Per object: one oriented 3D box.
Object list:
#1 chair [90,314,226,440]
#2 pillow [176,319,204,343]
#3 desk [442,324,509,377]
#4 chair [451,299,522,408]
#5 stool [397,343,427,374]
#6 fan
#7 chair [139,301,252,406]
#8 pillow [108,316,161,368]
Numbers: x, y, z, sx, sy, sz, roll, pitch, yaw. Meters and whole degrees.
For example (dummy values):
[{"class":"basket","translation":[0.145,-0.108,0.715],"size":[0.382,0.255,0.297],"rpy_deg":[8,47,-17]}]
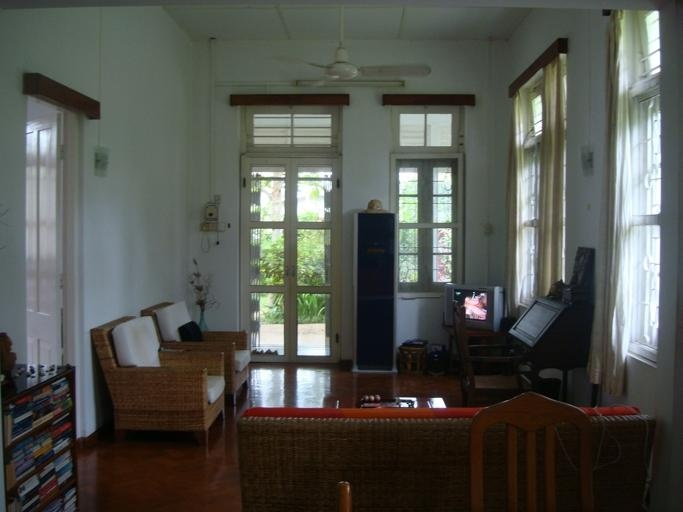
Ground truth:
[{"class":"chair","translation":[-1.734,1.154,5.473],"size":[1.113,1.083,0.568],"rpy_deg":[0,2,5]},{"class":"pillow","translation":[-1.683,0.834,6.305],"size":[0.083,0.225,0.256],"rpy_deg":[-17,-5,18]},{"class":"desk","translation":[1.606,1.105,6.828],"size":[0.517,0.492,0.978],"rpy_deg":[0,-2,-2]},{"class":"chair","translation":[1.505,0.932,5.996],"size":[0.633,0.996,1.916],"rpy_deg":[0,2,13]},{"class":"stool","translation":[0.873,1.238,7.256],"size":[0.426,0.412,0.333],"rpy_deg":[1,0,-18]},{"class":"fan","translation":[0.202,-2.651,7.089],"size":[1.281,0.442,1.309],"rpy_deg":[-1,-27,-2]},{"class":"chair","translation":[-1.558,1.050,6.388],"size":[1.065,1.031,0.979],"rpy_deg":[-1,-1,-2]},{"class":"pillow","translation":[-1.961,0.832,5.471],"size":[0.121,0.430,0.472],"rpy_deg":[-10,-1,10]}]
